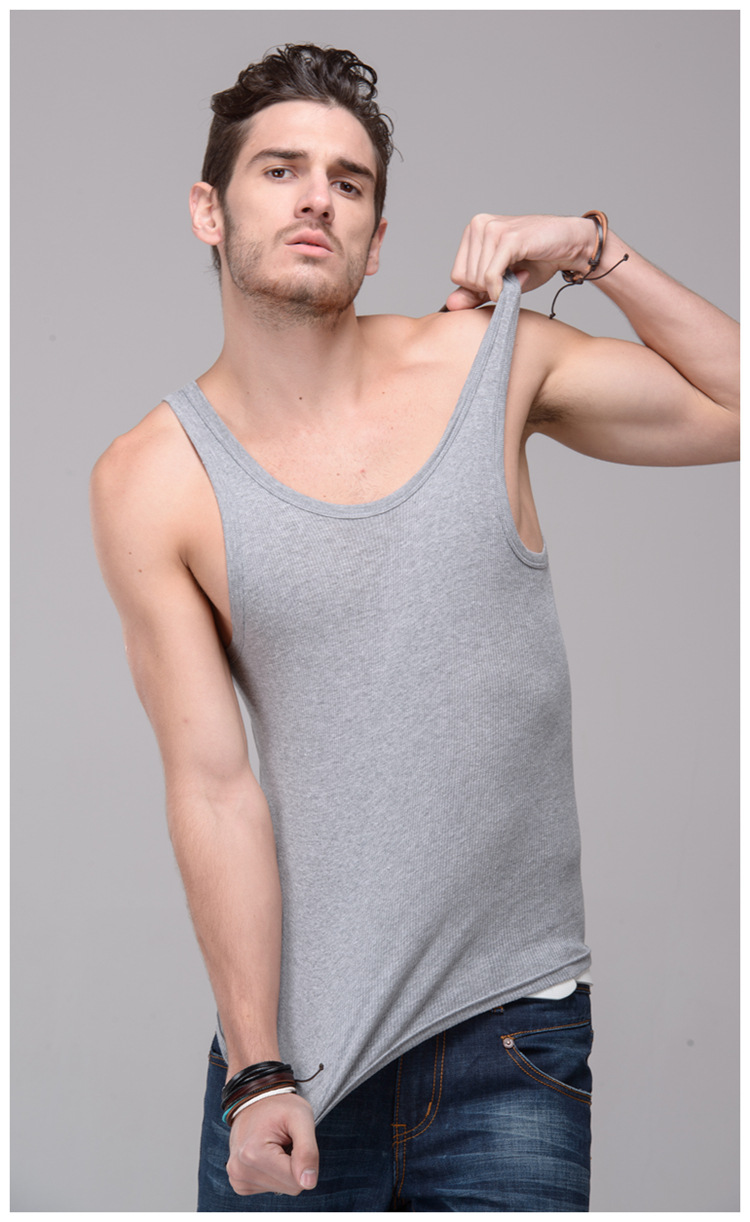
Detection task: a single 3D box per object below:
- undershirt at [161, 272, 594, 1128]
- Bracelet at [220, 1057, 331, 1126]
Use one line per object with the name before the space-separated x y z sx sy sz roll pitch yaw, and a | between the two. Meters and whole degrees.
undershirt | 0.018 0.091 1.235 0.387 0.751 0.408 -4 24 -22
Bracelet | -0.099 0.457 1.119 0.090 0.064 0.034 -27 55 8
